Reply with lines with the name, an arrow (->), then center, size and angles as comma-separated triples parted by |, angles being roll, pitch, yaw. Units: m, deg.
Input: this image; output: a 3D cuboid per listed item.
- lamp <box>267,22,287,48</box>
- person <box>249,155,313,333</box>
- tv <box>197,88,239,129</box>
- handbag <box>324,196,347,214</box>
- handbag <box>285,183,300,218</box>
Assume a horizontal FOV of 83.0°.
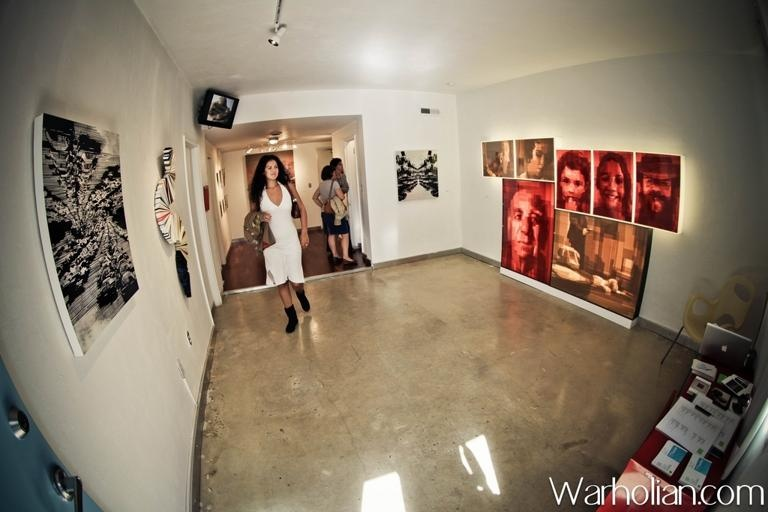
lamp -> -1.026, -2.107, 4.119 | 0.103, 0.102, 0.248 | -12, 41, 12
person -> -1.265, -0.136, 5.353 | 0.624, 2.159, 0.464 | -6, 12, -16
tv -> -2.314, -2.049, 5.981 | 0.160, 0.479, 0.518 | 21, 13, 29
handbag -> -0.847, -0.909, 7.643 | 0.328, 0.271, 0.134 | -5, 12, -8
handbag -> -1.120, -0.637, 5.369 | 0.205, 0.349, 0.346 | -13, 9, -18
